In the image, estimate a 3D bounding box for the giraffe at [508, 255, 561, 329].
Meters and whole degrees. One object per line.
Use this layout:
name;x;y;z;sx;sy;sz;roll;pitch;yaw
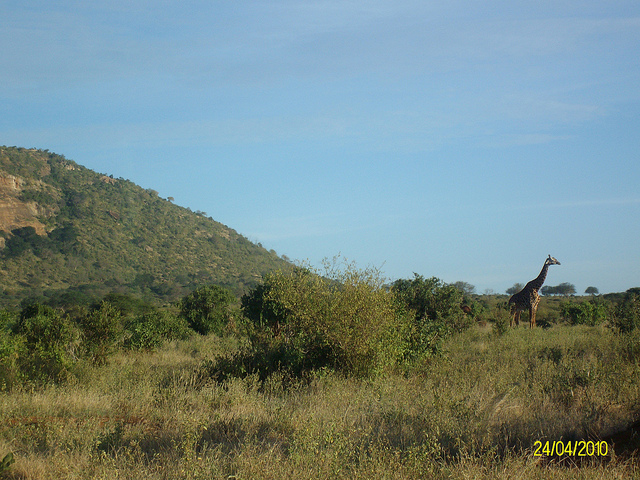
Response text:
giraffe;13.299;3.651;58.478;2.368;4.532;6.073;-1;-14;11
